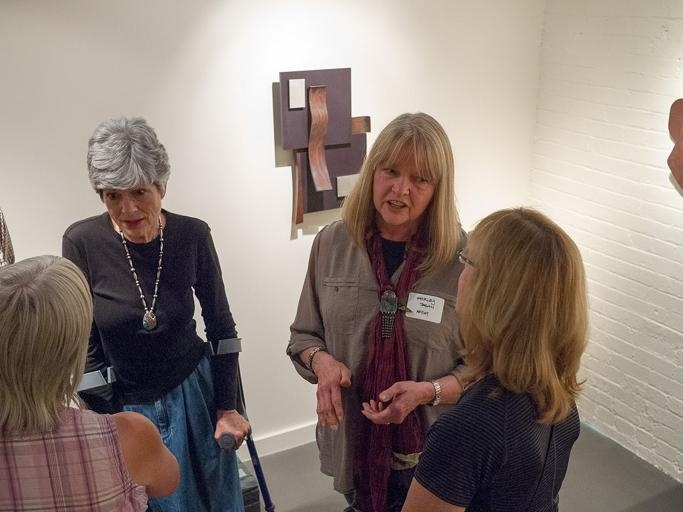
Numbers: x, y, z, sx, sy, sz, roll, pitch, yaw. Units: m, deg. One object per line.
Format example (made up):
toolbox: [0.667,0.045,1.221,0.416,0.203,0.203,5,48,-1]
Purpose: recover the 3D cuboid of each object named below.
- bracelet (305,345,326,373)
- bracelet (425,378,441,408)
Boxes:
bracelet: [-0.101,0.432,2.142,0.030,0.092,0.075,5,7,23]
bracelet: [0.366,0.519,1.946,0.052,0.086,0.074,-3,-3,0]
